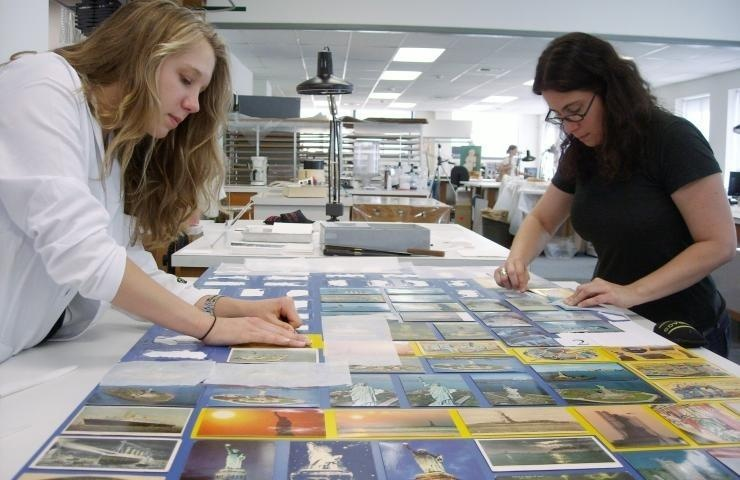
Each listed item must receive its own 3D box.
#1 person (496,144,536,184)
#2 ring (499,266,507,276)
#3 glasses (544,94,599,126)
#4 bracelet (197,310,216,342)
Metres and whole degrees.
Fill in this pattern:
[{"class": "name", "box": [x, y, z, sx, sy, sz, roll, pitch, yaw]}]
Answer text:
[{"class": "person", "box": [3.559, -1.771, 10.757, 0.898, 0.902, 0.659, 10, 12, 13]}, {"class": "ring", "box": [0.530, 0.111, 1.735, 0.040, 0.028, 0.010, 13, -16, -31]}, {"class": "glasses", "box": [0.758, -0.475, 1.609, 0.110, 0.028, 0.109, -35, 24, -25]}, {"class": "bracelet", "box": [-0.427, 0.216, 1.176, 0.020, 0.060, 0.073, 20, 4, -29]}]
